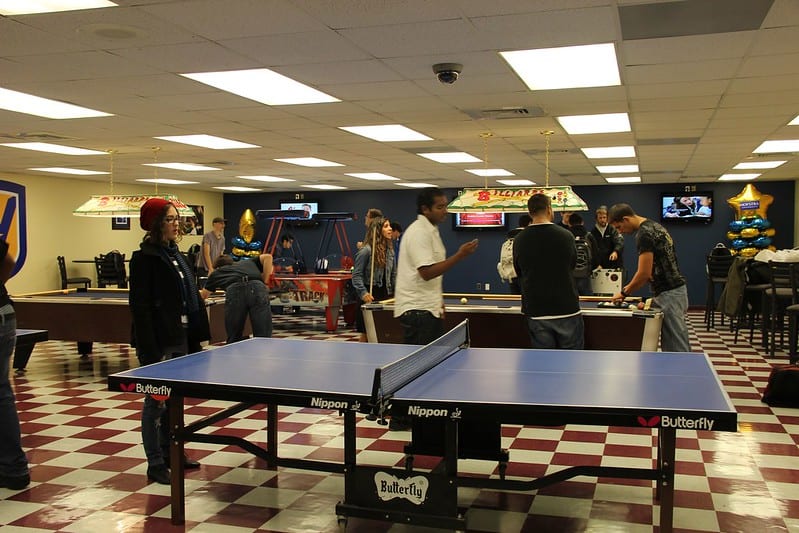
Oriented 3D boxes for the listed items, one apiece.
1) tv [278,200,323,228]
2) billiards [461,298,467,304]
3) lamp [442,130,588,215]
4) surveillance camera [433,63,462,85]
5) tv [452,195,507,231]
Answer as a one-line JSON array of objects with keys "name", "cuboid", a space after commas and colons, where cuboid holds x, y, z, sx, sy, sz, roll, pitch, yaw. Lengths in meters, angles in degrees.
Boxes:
[{"name": "tv", "cuboid": [-2.827, -1.551, 16.846, 1.354, 0.838, 0.169, 0, -3, 12]}, {"name": "billiards", "cuboid": [0.773, 0.421, 6.991, 0.059, 0.048, 0.055, 1, -8, -2]}, {"name": "lamp", "cuboid": [1.726, -1.032, 8.641, 1.976, 0.946, 0.723, -1, -4, 18]}, {"name": "surveillance camera", "cuboid": [0.487, -1.966, 5.944, 0.309, 0.137, 0.297, 0, 2, 3]}, {"name": "tv", "cuboid": [2.172, -1.446, 16.973, 1.898, 0.881, 1.143, 0, -4, 14]}]
